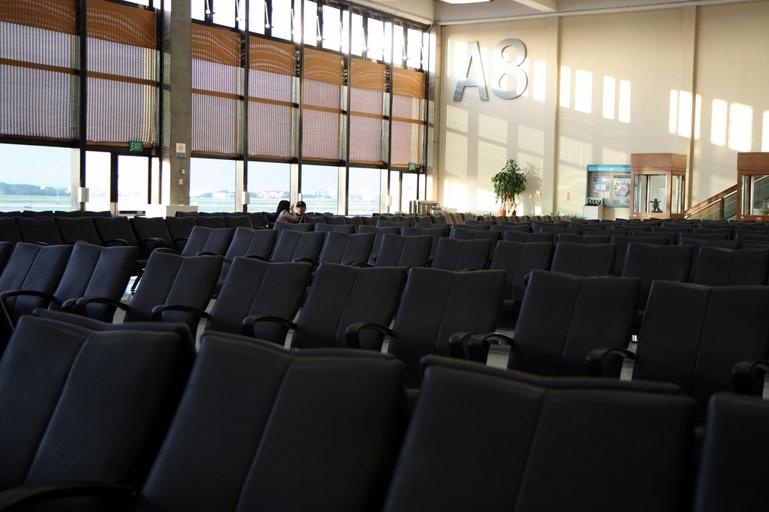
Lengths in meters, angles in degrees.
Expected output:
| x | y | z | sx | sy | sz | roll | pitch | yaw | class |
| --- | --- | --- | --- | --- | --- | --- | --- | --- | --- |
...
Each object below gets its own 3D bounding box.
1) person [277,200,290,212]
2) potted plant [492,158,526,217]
| x | y | z | sx | sy | sz | roll | pitch | yaw | class |
| --- | --- | --- | --- | --- | --- | --- | --- | --- | --- |
| -1.760 | -0.888 | 10.165 | 0.201 | 0.185 | 1.025 | 6 | -2 | -12 | person |
| 4.126 | -2.345 | 19.086 | 1.084 | 1.696 | 0.725 | 5 | -3 | 13 | potted plant |
